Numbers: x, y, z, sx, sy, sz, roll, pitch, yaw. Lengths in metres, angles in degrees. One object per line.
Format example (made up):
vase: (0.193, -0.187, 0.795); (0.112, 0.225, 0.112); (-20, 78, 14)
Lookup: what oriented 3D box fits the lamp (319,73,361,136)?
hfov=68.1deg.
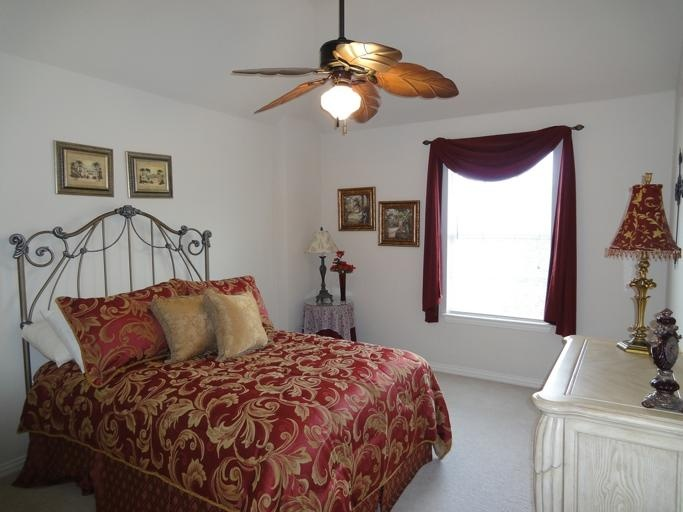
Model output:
lamp: (0.017, -0.890, 2.976); (0.222, 0.344, 0.245); (-2, 10, -18)

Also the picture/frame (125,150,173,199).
picture/frame: (-1.639, -0.687, 4.238); (0.028, 0.395, 0.392); (4, 7, 35)

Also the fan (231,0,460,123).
fan: (0.095, -1.010, 2.979); (1.043, 0.492, 0.717); (7, 14, 27)

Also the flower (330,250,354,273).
flower: (0.020, 0.076, 5.687); (0.245, 0.198, 0.250); (-12, 36, -28)

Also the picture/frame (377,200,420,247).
picture/frame: (0.652, -0.362, 5.551); (0.459, 0.512, 0.039); (3, 5, 31)

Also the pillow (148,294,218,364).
pillow: (-1.104, 0.469, 3.540); (0.134, 0.421, 0.454); (-30, -14, 40)

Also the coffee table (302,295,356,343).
coffee table: (-0.107, 0.652, 5.329); (0.419, 0.439, 0.434); (0, -2, -22)

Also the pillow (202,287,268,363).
pillow: (-0.758, 0.489, 3.628); (0.143, 0.458, 0.467); (-26, -12, 33)

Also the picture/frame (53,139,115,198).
picture/frame: (-1.992, -0.670, 3.855); (0.034, 0.477, 0.452); (3, 4, 39)

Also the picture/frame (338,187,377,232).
picture/frame: (0.202, -0.546, 5.789); (0.464, 0.519, 0.053); (3, 5, 33)
